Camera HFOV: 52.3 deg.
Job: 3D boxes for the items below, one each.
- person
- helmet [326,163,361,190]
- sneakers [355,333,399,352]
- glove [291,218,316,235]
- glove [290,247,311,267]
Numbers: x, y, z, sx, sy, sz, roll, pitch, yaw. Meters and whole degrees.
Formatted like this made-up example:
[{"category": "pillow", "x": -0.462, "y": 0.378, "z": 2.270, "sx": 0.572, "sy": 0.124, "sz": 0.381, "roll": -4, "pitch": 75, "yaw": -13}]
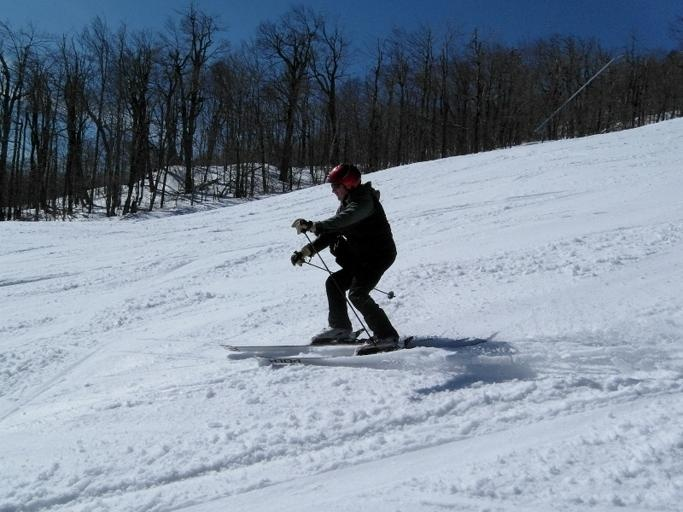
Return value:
[{"category": "person", "x": 0.124, "y": -0.061, "z": 10.773, "sx": 1.452, "sy": 2.845, "sz": 0.781, "roll": -5, "pitch": 8, "yaw": -3}, {"category": "helmet", "x": 0.081, "y": -1.319, "z": 10.948, "sx": 0.515, "sy": 0.385, "sz": 0.361, "roll": 21, "pitch": 9, "yaw": 1}, {"category": "sneakers", "x": 0.548, "y": 1.341, "z": 10.780, "sx": 0.641, "sy": 0.205, "sz": 0.202, "roll": -3, "pitch": 7, "yaw": 0}, {"category": "glove", "x": -0.603, "y": -0.481, "z": 10.363, "sx": 0.271, "sy": 0.133, "sz": 0.321, "roll": 5, "pitch": -3, "yaw": -20}, {"category": "glove", "x": -0.647, "y": -0.009, "z": 10.740, "sx": 0.289, "sy": 0.186, "sz": 0.361, "roll": -17, "pitch": -11, "yaw": -5}]
